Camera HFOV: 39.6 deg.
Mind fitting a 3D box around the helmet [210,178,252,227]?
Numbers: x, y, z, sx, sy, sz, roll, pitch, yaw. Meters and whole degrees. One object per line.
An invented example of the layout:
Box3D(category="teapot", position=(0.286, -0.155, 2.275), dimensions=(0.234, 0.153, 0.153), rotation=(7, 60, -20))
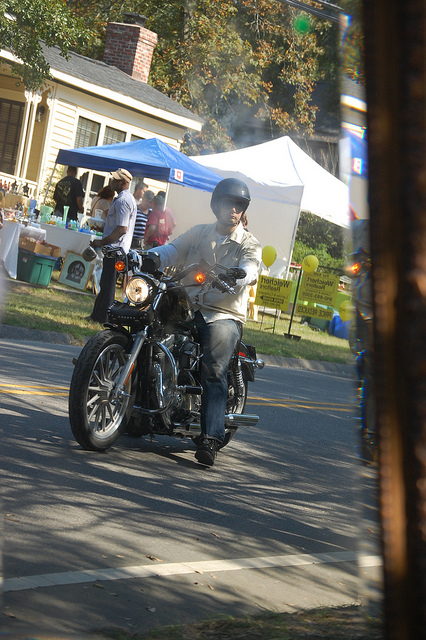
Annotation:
Box3D(category="helmet", position=(0.155, -1.051, 5.193), dimensions=(0.326, 0.430, 0.341), rotation=(13, -2, -2))

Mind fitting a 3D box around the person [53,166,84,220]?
Box3D(category="person", position=(-3.665, -3.286, 15.257), dimensions=(0.703, 1.415, 0.694), rotation=(15, -2, -32))

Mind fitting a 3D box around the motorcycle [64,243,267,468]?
Box3D(category="motorcycle", position=(-0.142, 0.269, 5.235), dimensions=(1.338, 1.361, 2.403), rotation=(7, -1, 40))

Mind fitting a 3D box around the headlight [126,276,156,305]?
Box3D(category="headlight", position=(-0.577, -0.234, 4.620), dimensions=(0.208, 0.209, 0.087), rotation=(-7, -4, 9))

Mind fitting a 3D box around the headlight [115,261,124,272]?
Box3D(category="headlight", position=(-0.764, -0.439, 4.816), dimensions=(0.075, 0.086, 0.176), rotation=(14, -2, -13))

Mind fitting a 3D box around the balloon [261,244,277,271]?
Box3D(category="balloon", position=(1.733, -2.009, 18.572), dimensions=(0.448, 0.726, 0.660), rotation=(14, -2, 3))
